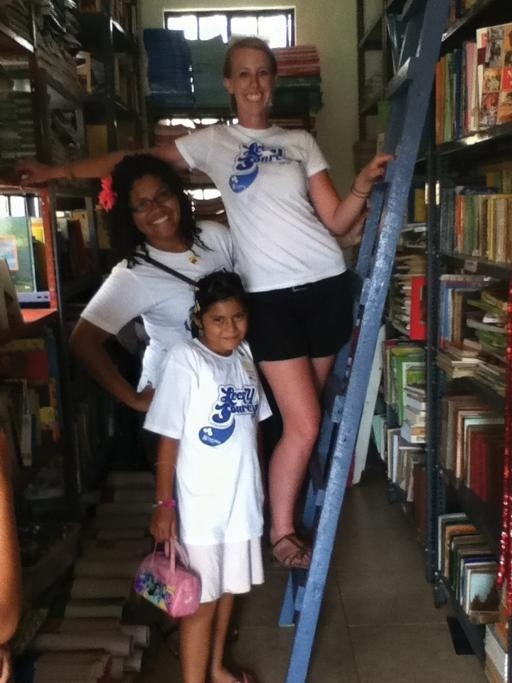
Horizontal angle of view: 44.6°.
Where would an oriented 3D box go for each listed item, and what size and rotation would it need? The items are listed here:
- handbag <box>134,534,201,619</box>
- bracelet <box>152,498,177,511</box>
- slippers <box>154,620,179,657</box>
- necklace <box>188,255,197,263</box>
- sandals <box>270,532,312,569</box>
[{"bbox_3d":[-0.225,0.612,1.673,0.083,0.187,0.205,9,-2,-40],"label":"handbag"},{"bbox_3d":[-0.250,0.444,1.707,0.058,0.033,0.018,0,-6,7],"label":"bracelet"},{"bbox_3d":[-0.313,1.069,2.244,0.060,0.021,0.074,11,19,-42],"label":"slippers"},{"bbox_3d":[-0.191,-0.250,1.893,0.023,0.020,0.006,16,-7,3],"label":"necklace"},{"bbox_3d":[0.108,0.635,1.866,0.037,0.064,0.140,2,-1,-31],"label":"sandals"}]
